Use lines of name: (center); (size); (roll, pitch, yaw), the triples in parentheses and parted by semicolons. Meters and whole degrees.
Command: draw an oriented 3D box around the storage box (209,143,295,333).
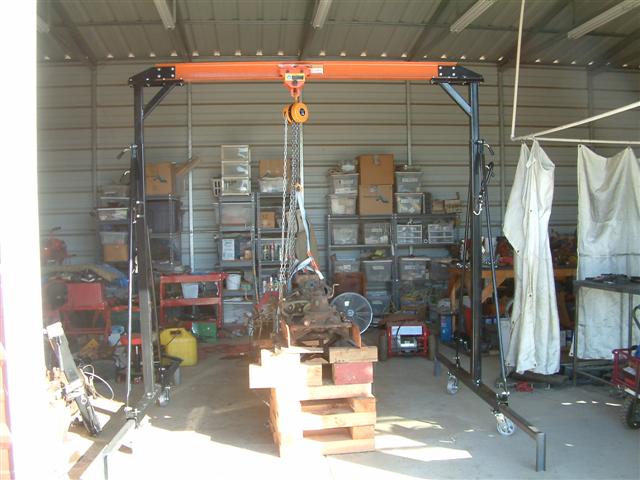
storage box: (-1.045, -0.133, 8.863); (1.130, 2.691, 1.701); (-4, 14, -9)

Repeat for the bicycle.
bicycle: (-0.028, 0.652, 5.947); (0.748, 0.578, 1.186); (-1, -4, -6)

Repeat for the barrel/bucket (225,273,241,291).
barrel/bucket: (-1.346, 0.655, 8.885); (0.281, 0.185, 0.245); (3, -2, -9)

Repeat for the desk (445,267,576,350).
desk: (2.431, 0.703, 7.656); (1.108, 0.690, 1.503); (-1, 1, -8)

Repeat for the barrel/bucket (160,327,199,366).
barrel/bucket: (-1.739, 1.307, 7.036); (0.451, 0.394, 0.632); (-3, 5, -27)

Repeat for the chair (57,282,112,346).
chair: (-3.192, 1.002, 7.779); (0.749, 0.744, 0.920); (-4, -5, -9)
